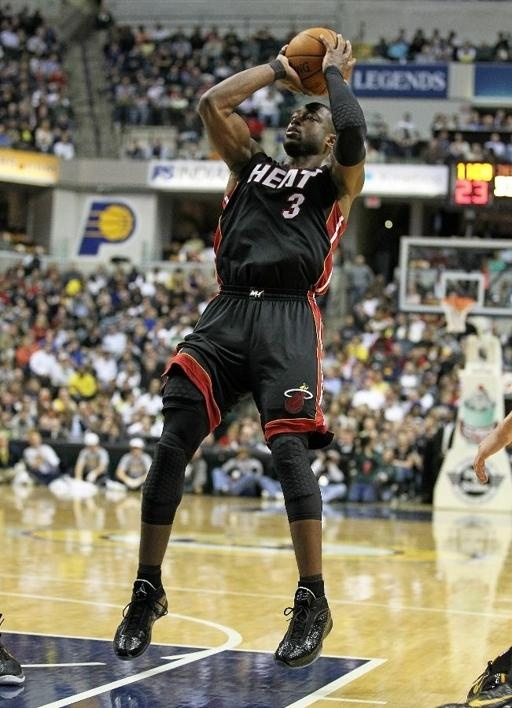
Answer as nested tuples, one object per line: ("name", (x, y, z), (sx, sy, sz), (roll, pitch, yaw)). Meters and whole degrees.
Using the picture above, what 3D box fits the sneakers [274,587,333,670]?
("sneakers", (0.128, 0.747, 2.410), (0.127, 0.211, 0.204), (-1, -7, 12))

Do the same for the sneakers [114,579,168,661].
("sneakers", (-0.294, 0.727, 2.484), (0.111, 0.117, 0.278), (8, 28, 8))

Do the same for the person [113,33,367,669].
("person", (-0.029, -0.100, 2.651), (0.719, 1.944, 0.421), (0, -8, 4))

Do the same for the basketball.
("basketball", (0.214, -0.978, 2.944), (0.194, 0.203, 0.199), (21, 33, 36))

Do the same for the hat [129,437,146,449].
("hat", (-1.229, 0.924, 9.105), (0.129, 0.079, 0.120), (4, -2, -1))
